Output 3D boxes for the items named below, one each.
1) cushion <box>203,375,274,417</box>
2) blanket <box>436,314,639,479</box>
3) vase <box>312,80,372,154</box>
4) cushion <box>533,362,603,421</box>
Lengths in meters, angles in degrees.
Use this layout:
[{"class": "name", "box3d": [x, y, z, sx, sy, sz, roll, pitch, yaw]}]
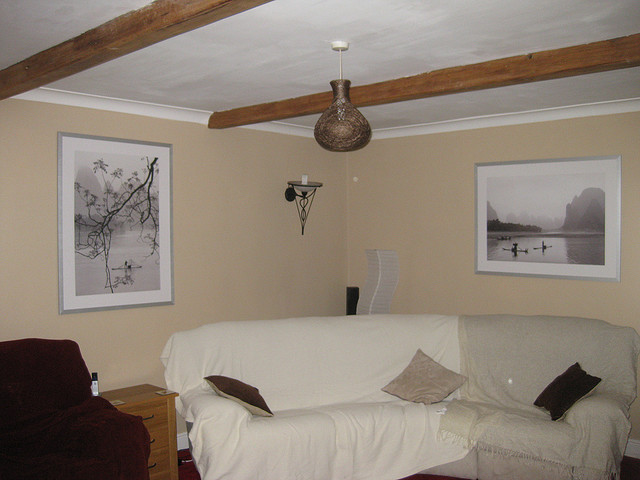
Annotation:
[{"class": "cushion", "box3d": [-0.637, 1.220, 3.764, 0.370, 0.284, 0.436, 0, 0, -41]}, {"class": "blanket", "box3d": [1.777, 1.184, 3.866, 1.429, 1.037, 0.866, -1, 0, 23]}, {"class": "vase", "box3d": [0.136, -0.784, 3.012, 0.332, 0.405, 0.159, -1, 0, -5]}, {"class": "cushion", "box3d": [1.939, 1.198, 3.784, 0.380, 0.342, 0.370, -1, 0, -3]}]
